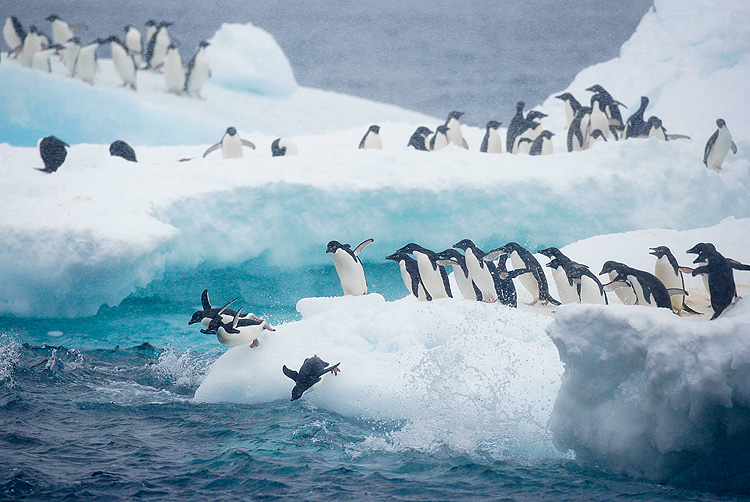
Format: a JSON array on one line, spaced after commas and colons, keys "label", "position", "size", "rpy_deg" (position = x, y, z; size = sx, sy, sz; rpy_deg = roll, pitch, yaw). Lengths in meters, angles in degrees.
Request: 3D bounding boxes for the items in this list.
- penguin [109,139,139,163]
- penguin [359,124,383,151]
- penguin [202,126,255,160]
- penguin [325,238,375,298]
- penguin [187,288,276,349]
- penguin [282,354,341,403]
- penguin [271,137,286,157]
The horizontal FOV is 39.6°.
[{"label": "penguin", "position": [-4.388, -1.736, 18.141], "size": [0.449, 0.492, 0.202], "rpy_deg": [8, 41, 24]}, {"label": "penguin", "position": [-0.075, -2.169, 19.981], "size": [0.464, 0.529, 0.609], "rpy_deg": [-5, -6, -9]}, {"label": "penguin", "position": [-2.808, -2.018, 19.747], "size": [0.965, 0.694, 0.446], "rpy_deg": [-9, 32, -17]}, {"label": "penguin", "position": [-0.394, 0.265, 15.459], "size": [0.383, 0.800, 0.502], "rpy_deg": [-9, -7, 14]}, {"label": "penguin", "position": [-2.030, 0.963, 14.568], "size": [1.097, 0.502, 0.794], "rpy_deg": [-11, 26, -31]}, {"label": "penguin", "position": [-0.824, 1.748, 14.317], "size": [0.695, 0.607, 0.242], "rpy_deg": [26, 4, 28]}, {"label": "penguin", "position": [-1.800, -1.942, 19.494], "size": [0.245, 0.381, 0.454], "rpy_deg": [-5, -6, -15]}]
